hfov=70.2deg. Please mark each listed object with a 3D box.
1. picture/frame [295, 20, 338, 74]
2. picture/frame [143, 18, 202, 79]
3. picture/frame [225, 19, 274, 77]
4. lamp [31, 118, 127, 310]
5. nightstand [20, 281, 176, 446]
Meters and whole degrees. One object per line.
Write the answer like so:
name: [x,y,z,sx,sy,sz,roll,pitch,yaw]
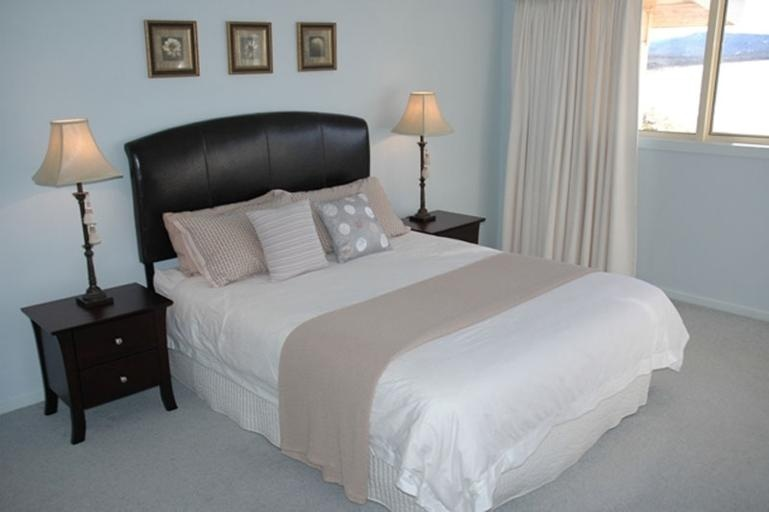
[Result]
picture/frame: [-0.592,-1.792,4.623,0.416,0.446,0.033,-11,17,-37]
picture/frame: [-1.578,-1.536,4.001,0.404,0.456,0.046,-14,20,-39]
picture/frame: [-1.085,-1.661,4.307,0.413,0.442,0.045,-14,20,-38]
lamp: [-2.019,-0.304,3.667,0.521,1.185,0.413,12,23,34]
nightstand: [-1.927,0.716,3.787,0.873,0.795,0.780,-8,16,-28]
